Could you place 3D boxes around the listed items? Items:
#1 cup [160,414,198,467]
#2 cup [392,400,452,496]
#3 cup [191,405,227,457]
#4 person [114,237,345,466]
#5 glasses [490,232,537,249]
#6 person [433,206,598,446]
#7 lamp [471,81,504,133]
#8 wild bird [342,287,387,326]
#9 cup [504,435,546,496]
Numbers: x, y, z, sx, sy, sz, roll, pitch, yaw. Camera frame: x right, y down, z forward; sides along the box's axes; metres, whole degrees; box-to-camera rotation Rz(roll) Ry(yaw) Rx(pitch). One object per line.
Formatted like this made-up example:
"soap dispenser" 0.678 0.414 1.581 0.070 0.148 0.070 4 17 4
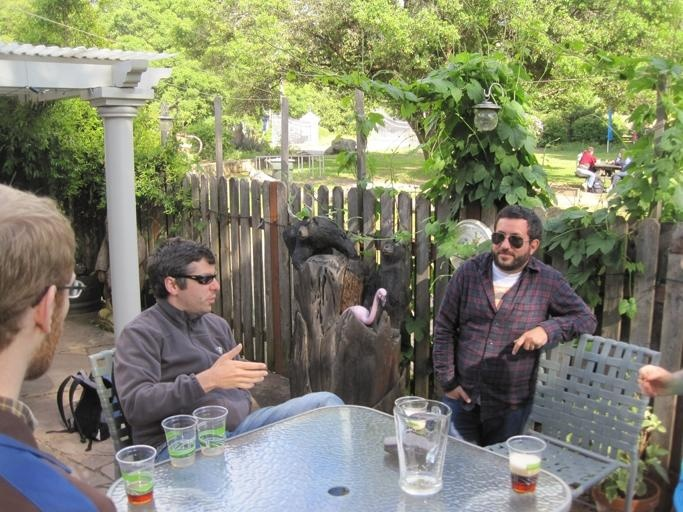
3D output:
"cup" -0.763 0.873 3.393 0.190 0.241 0.211 0 6 14
"cup" 0.375 0.881 3.289 0.255 0.395 0.333 1 7 6
"cup" -0.639 0.856 3.484 0.188 0.230 0.207 -1 8 10
"person" -0.737 0.794 4.256 1.102 1.827 1.060 -1 4 16
"glasses" 1.043 -0.105 4.385 0.195 0.103 0.060 3 7 16
"person" 1.080 0.772 4.636 0.950 2.180 0.554 12 23 22
"lamp" 1.089 -1.143 5.226 0.201 0.376 0.178 2 7 13
"wild bird" 0.218 0.366 5.263 0.283 0.287 0.387 3 7 22
"cup" 0.857 0.940 3.231 0.202 0.269 0.214 -1 2 0
